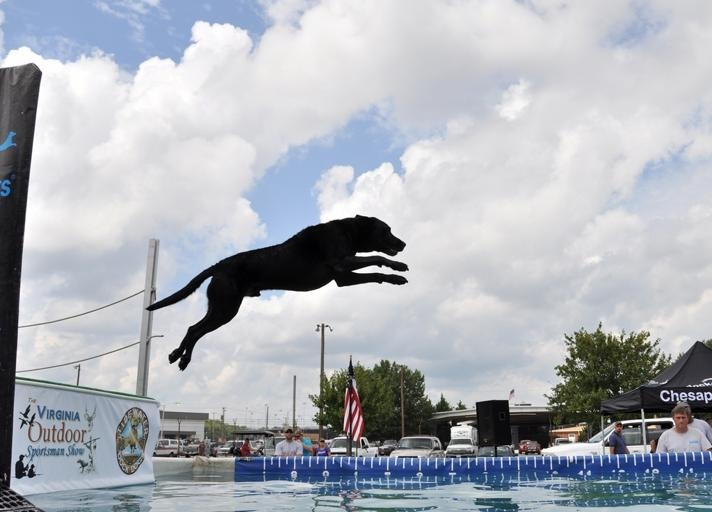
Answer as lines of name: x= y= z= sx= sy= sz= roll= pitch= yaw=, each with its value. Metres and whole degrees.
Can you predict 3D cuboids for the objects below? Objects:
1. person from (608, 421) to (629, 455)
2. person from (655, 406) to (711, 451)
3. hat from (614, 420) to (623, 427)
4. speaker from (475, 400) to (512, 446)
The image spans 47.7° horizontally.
person: x=5.932 y=4.102 z=18.272 sx=0.370 sy=0.826 sz=1.621 roll=-7 pitch=-19 yaw=16
person: x=5.953 y=3.140 z=14.638 sx=0.856 sy=0.808 sz=0.926 roll=-7 pitch=-18 yaw=13
hat: x=6.161 y=3.943 z=18.909 sx=0.182 sy=0.088 sz=0.279 roll=2 pitch=-11 yaw=3
speaker: x=4.591 y=5.571 z=26.776 sx=1.050 sy=1.526 sz=1.225 roll=-5 pitch=-17 yaw=8
